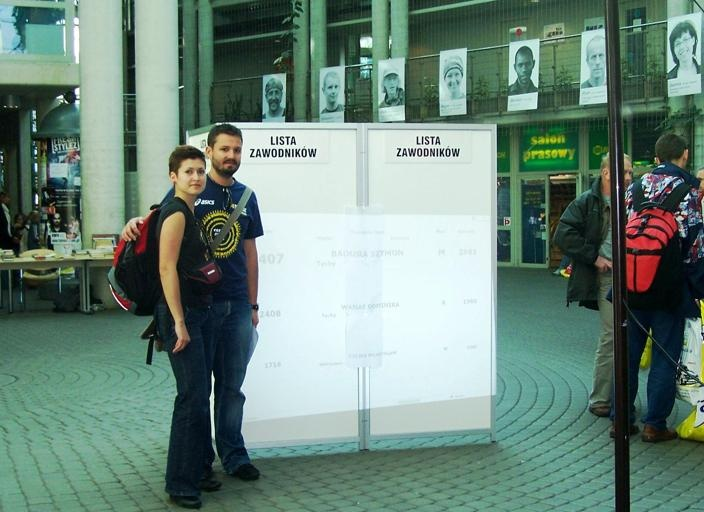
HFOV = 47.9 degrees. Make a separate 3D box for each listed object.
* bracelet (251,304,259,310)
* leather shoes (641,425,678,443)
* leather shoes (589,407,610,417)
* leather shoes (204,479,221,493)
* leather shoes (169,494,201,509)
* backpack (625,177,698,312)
[{"bbox_3d":[-0.863,0.440,6.931,0.048,0.039,0.071,-1,2,-5],"label":"bracelet"},{"bbox_3d":[2.917,1.666,7.505,0.374,0.172,0.131,-5,5,-24],"label":"leather shoes"},{"bbox_3d":[2.518,1.559,8.032,0.171,0.080,0.086,-2,1,41],"label":"leather shoes"},{"bbox_3d":[-1.173,1.897,6.592,0.152,0.073,0.066,2,9,-31],"label":"leather shoes"},{"bbox_3d":[-1.342,1.952,6.328,0.220,0.108,0.106,2,2,2],"label":"leather shoes"},{"bbox_3d":[2.861,-0.070,7.415,0.558,1.207,0.346,2,7,23],"label":"backpack"}]
